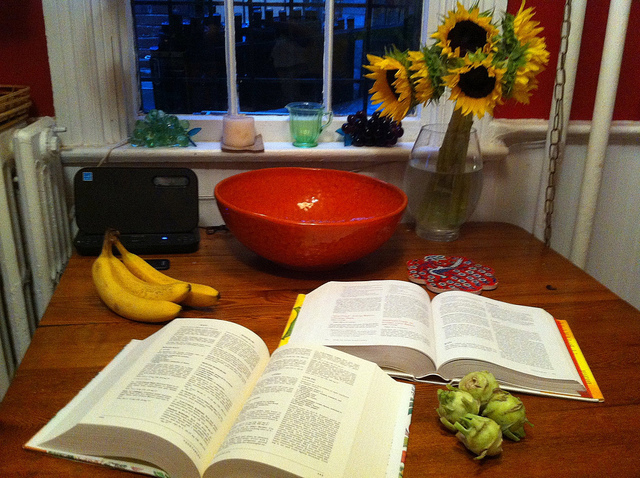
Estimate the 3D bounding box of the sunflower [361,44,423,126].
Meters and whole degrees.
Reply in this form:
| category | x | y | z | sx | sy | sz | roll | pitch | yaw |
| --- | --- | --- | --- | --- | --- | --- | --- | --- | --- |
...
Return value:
| category | x | y | z | sx | sy | sz | roll | pitch | yaw |
| --- | --- | --- | --- | --- | --- | --- | --- | --- | --- |
| sunflower | 0.224 | -0.390 | 1.165 | 0.091 | 0.162 | 0.181 | 15 | 24 | 42 |

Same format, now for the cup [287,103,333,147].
| category | x | y | z | sx | sy | sz | roll | pitch | yaw |
| --- | --- | --- | --- | --- | --- | --- | --- | --- | --- |
| cup | -0.036 | -0.367 | 1.563 | 0.153 | 0.116 | 0.125 | -2 | 18 | -6 |

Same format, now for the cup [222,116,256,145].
| category | x | y | z | sx | sy | sz | roll | pitch | yaw |
| --- | --- | --- | --- | --- | --- | --- | --- | --- | --- |
| cup | -0.251 | -0.335 | 1.471 | 0.110 | 0.076 | 0.104 | 3 | 29 | -2 |

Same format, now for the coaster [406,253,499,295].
| category | x | y | z | sx | sy | sz | roll | pitch | yaw |
| --- | --- | --- | --- | --- | --- | --- | --- | --- | --- |
| coaster | 0.314 | 0.086 | 1.138 | 0.150 | 0.042 | 0.139 | -5 | 17 | -38 |

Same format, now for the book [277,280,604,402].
| category | x | y | z | sx | sy | sz | roll | pitch | yaw |
| --- | --- | --- | --- | --- | --- | --- | --- | --- | --- |
| book | 0.220 | 0.178 | 0.937 | 0.568 | 0.054 | 0.298 | 6 | 20 | 8 |

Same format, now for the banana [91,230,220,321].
| category | x | y | z | sx | sy | sz | roll | pitch | yaw |
| --- | --- | --- | --- | --- | --- | --- | --- | --- | --- |
| banana | -0.363 | 0.085 | 1.023 | 0.295 | 0.145 | 0.171 | 16 | 21 | 33 |
